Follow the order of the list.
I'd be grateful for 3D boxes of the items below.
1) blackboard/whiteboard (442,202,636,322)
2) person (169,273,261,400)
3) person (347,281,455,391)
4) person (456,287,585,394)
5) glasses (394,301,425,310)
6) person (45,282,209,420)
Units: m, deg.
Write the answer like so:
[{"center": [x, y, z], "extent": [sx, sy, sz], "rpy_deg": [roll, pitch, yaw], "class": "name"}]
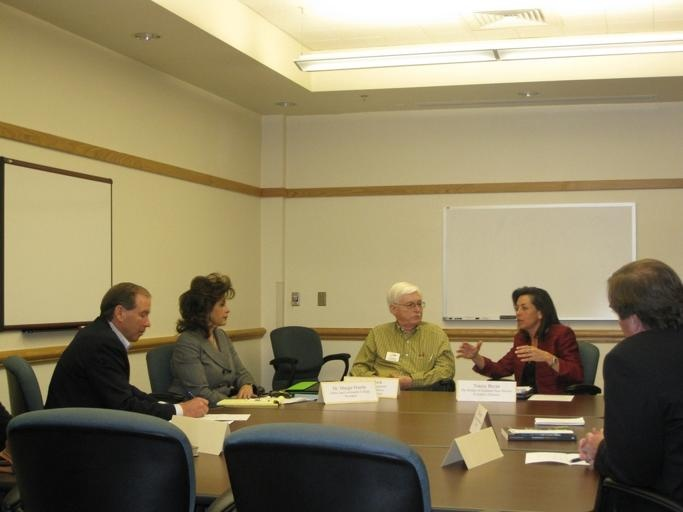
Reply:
[{"center": [2.262, 0.090, 6.346], "extent": [2.291, 1.372, 0.078], "rpy_deg": [-1, 3, -4], "class": "blackboard/whiteboard"}, {"center": [-0.932, 0.649, 4.096], "extent": [0.718, 0.991, 0.711], "rpy_deg": [0, -4, -4], "class": "person"}, {"center": [0.483, 0.653, 4.401], "extent": [0.873, 0.829, 0.540], "rpy_deg": [1, 0, 25], "class": "person"}, {"center": [1.404, 0.652, 4.256], "extent": [0.850, 0.809, 0.836], "rpy_deg": [-2, -2, 22], "class": "person"}, {"center": [0.525, 0.382, 4.308], "extent": [0.190, 0.056, 0.073], "rpy_deg": [0, -3, -13], "class": "glasses"}, {"center": [-1.249, 0.541, 3.154], "extent": [0.800, 0.765, 0.401], "rpy_deg": [1, -2, -26], "class": "person"}]
